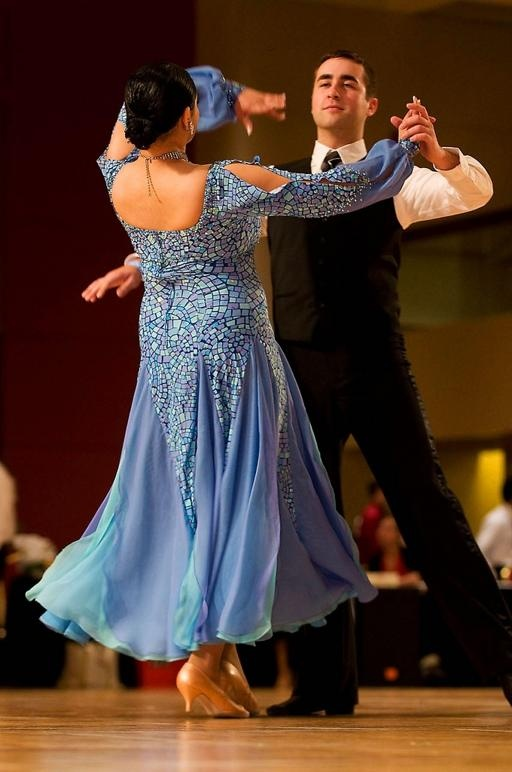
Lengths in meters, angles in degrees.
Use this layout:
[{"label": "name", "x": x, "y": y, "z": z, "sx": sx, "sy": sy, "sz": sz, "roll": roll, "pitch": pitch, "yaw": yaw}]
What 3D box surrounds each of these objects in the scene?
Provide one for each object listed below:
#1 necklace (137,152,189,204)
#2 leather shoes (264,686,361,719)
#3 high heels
[{"label": "necklace", "x": -0.199, "y": -0.447, "z": 1.936, "sx": 0.036, "sy": 0.109, "sz": 0.085, "roll": -14, "pitch": 28, "yaw": -42}, {"label": "leather shoes", "x": 0.134, "y": 0.751, "z": 2.157, "sx": 0.214, "sy": 0.076, "sz": 0.071, "roll": 5, "pitch": -19, "yaw": -8}, {"label": "high heels", "x": -0.106, "y": 0.630, "z": 1.888, "sx": 0.093, "sy": 0.118, "sz": 0.265, "roll": -18, "pitch": -27, "yaw": 30}]
